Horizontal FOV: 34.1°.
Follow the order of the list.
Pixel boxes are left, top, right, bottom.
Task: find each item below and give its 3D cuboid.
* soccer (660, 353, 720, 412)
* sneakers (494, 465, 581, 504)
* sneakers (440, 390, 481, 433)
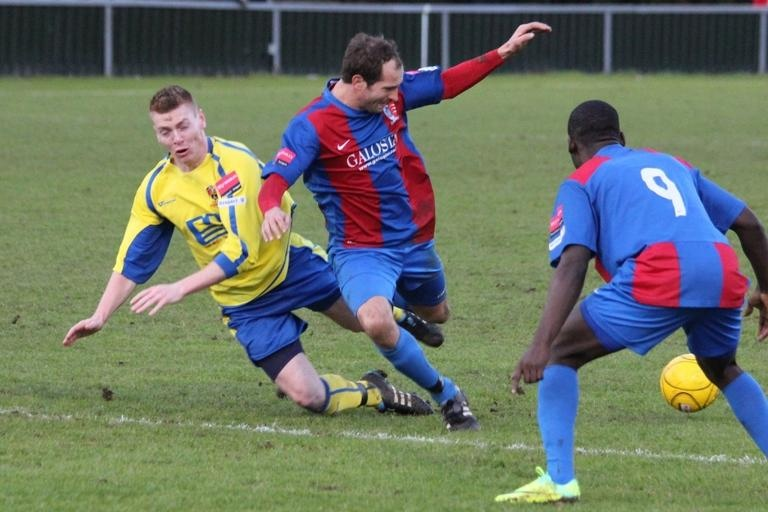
[{"bbox_3d":[2.408,0.995,9.734,0.464,0.463,0.460,-3,48,18],"label":"soccer"},{"bbox_3d":[1.114,1.622,8.765,0.665,0.260,0.214,0,-8,4],"label":"sneakers"},{"bbox_3d":[0.594,1.193,9.656,0.248,0.277,0.243,-3,7,-15],"label":"sneakers"}]
